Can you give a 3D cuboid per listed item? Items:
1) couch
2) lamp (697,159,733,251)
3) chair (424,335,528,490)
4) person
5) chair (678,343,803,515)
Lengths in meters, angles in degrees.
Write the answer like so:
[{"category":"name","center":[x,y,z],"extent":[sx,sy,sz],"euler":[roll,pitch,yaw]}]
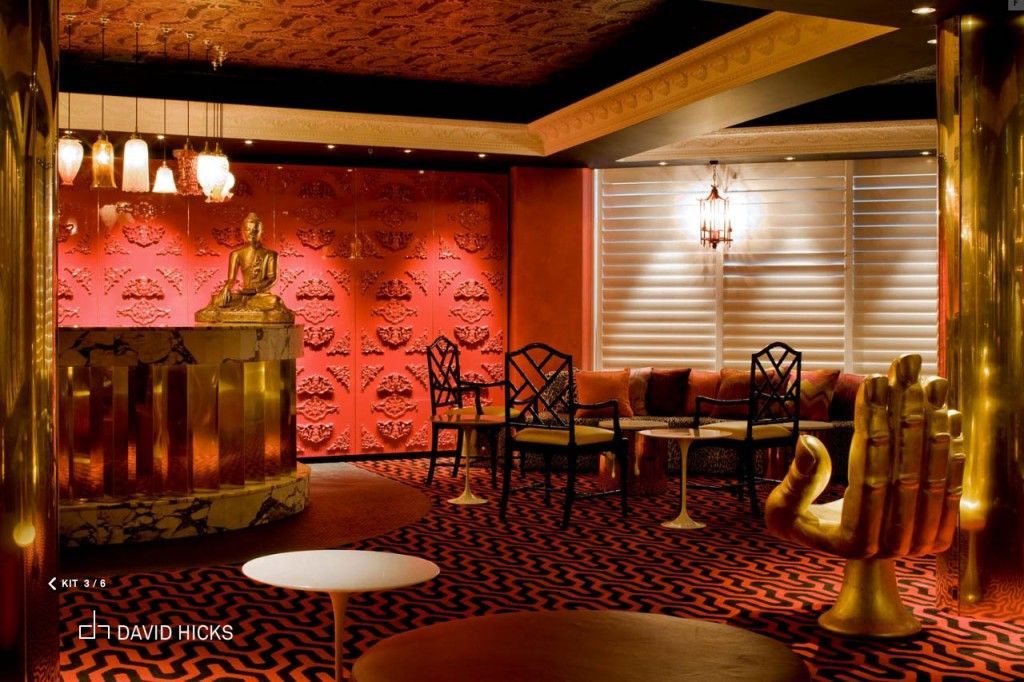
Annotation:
[{"category":"couch","center":[1.790,0.752,7.483],"extent":[2.911,0.797,0.903],"euler":[-1,11,22]},{"category":"lamp","center":[2.145,-1.417,8.284],"extent":[0.411,0.809,0.382],"euler":[2,6,26]},{"category":"chair","center":[-0.234,0.657,7.279],"extent":[1.062,1.248,1.069],"euler":[1,0,-41]},{"category":"person","center":[-1.975,-0.546,5.726],"extent":[0.580,0.837,0.620],"euler":[0,3,-30]},{"category":"chair","center":[1.817,0.650,6.314],"extent":[1.063,1.094,0.946],"euler":[-3,-2,12]}]
